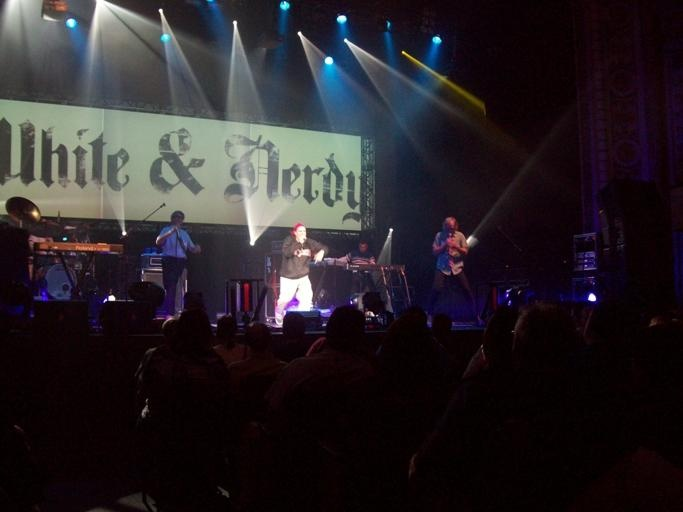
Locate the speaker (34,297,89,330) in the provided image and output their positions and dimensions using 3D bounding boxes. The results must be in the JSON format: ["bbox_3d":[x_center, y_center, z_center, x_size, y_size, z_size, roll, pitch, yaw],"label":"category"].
[{"bbox_3d":[-2.851,0.599,6.598,0.410,0.328,0.302,2,0,-17],"label":"speaker"}]

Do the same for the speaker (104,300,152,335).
[{"bbox_3d":[-2.360,0.684,7.153,0.565,0.419,0.313,3,-5,-28],"label":"speaker"}]

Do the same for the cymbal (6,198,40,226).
[{"bbox_3d":[-4.364,-0.639,8.867,0.408,0.337,0.333,3,-2,-45],"label":"cymbal"}]

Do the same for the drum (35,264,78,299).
[{"bbox_3d":[-4.286,0.389,9.681,0.436,0.479,0.453,-4,7,-44],"label":"drum"}]
